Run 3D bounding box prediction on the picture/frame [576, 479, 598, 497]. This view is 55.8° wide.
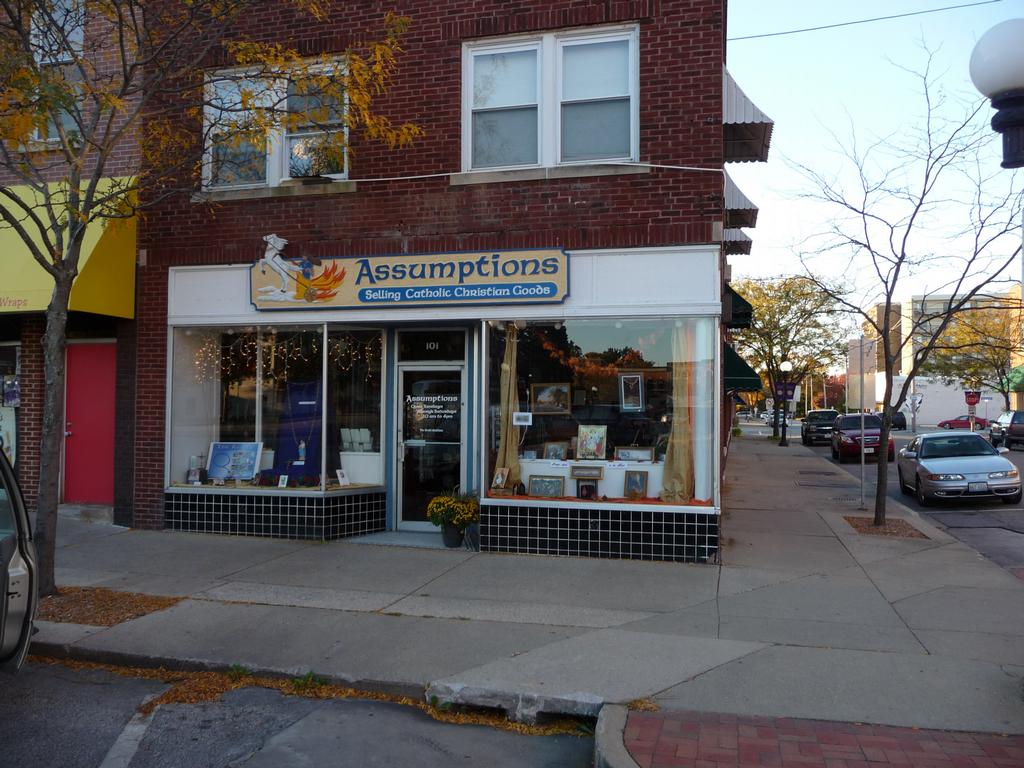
[{"bbox_3d":[1.014,1.467,13.428,0.259,0.288,0.208,-2,-8,14],"label":"picture/frame"}]

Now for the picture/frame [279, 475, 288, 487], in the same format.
[{"bbox_3d":[-3.437,1.461,14.460,0.146,0.212,0.023,-7,-29,10],"label":"picture/frame"}]

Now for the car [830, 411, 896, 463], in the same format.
[{"bbox_3d":[10.259,1.618,28.599,1.397,1.474,3.065,-2,-8,10],"label":"car"}]

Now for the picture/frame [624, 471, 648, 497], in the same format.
[{"bbox_3d":[1.682,1.384,13.244,0.289,0.377,0.045,4,-6,16],"label":"picture/frame"}]

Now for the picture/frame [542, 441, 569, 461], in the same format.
[{"bbox_3d":[0.599,0.949,13.593,0.206,0.263,0.034,9,-7,16],"label":"picture/frame"}]

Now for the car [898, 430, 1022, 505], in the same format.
[{"bbox_3d":[9.130,1.706,20.245,1.317,0.917,2.650,-2,-7,11],"label":"car"}]

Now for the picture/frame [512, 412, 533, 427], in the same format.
[{"bbox_3d":[0.124,0.508,13.698,0.314,0.258,0.179,0,-4,4],"label":"picture/frame"}]

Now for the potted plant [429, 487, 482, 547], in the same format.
[{"bbox_3d":[-0.840,1.871,13.606,0.623,0.789,0.731,0,-2,4],"label":"potted plant"}]

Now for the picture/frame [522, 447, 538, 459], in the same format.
[{"bbox_3d":[0.239,0.993,13.662,0.186,0.153,0.114,2,1,10],"label":"picture/frame"}]

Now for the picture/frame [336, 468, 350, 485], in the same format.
[{"bbox_3d":[-2.546,1.402,14.506,0.141,0.237,0.223,3,7,25],"label":"picture/frame"}]

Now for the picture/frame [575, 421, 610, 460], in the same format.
[{"bbox_3d":[1.114,0.808,13.480,0.466,0.580,0.074,1,-7,14],"label":"picture/frame"}]

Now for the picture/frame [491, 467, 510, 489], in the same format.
[{"bbox_3d":[-0.191,1.342,13.611,0.238,0.373,0.041,7,-24,9],"label":"picture/frame"}]

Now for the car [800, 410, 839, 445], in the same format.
[{"bbox_3d":[14.265,2.236,44.787,1.591,1.563,3.229,0,3,7],"label":"car"}]

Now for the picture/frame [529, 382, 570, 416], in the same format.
[{"bbox_3d":[0.534,0.203,13.629,0.403,0.375,0.041,1,6,7],"label":"picture/frame"}]

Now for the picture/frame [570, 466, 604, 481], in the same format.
[{"bbox_3d":[1.020,1.235,13.452,0.425,0.210,0.049,2,7,13],"label":"picture/frame"}]

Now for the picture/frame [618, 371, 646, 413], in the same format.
[{"bbox_3d":[1.643,0.094,13.364,0.504,0.814,0.060,-1,1,12],"label":"picture/frame"}]
